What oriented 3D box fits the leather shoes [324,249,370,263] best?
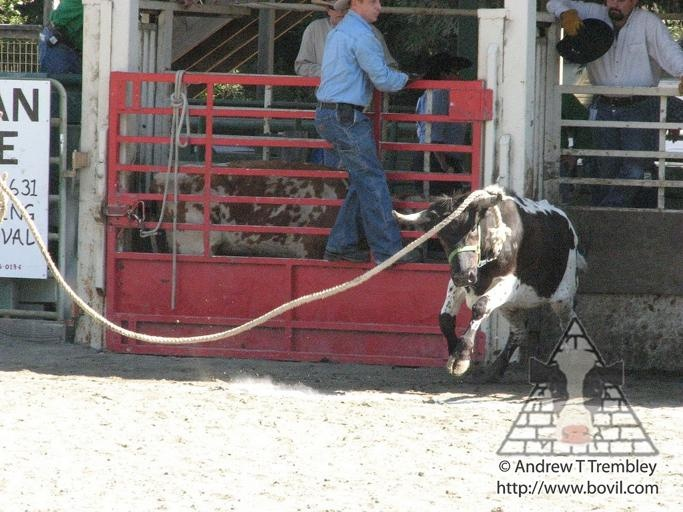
[{"bbox_3d":[0.069,0.007,17.034,0.382,0.163,0.138,-3,8,-3],"label":"leather shoes"}]

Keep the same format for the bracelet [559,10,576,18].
[{"bbox_3d":[2.120,-2.198,17.243,0.161,0.064,0.238,5,7,41],"label":"bracelet"}]

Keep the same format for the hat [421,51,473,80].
[{"bbox_3d":[1.057,-1.850,18.521,0.378,0.138,0.340,-14,-5,-4],"label":"hat"}]

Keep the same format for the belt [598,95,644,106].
[{"bbox_3d":[2.582,-1.422,17.423,0.418,0.089,0.098,4,6,32],"label":"belt"}]

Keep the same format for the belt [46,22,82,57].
[{"bbox_3d":[-2.700,-2.118,18.603,0.340,0.116,0.249,9,37,-36],"label":"belt"}]

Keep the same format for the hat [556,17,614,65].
[{"bbox_3d":[2.259,-1.955,17.330,0.524,0.400,0.318,-2,6,-24],"label":"hat"}]

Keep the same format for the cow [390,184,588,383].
[{"bbox_3d":[1.328,0.172,16.198,1.626,1.559,0.523,-4,7,-42],"label":"cow"}]
